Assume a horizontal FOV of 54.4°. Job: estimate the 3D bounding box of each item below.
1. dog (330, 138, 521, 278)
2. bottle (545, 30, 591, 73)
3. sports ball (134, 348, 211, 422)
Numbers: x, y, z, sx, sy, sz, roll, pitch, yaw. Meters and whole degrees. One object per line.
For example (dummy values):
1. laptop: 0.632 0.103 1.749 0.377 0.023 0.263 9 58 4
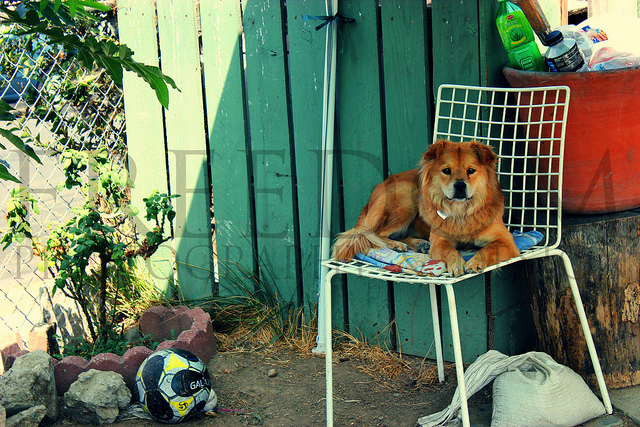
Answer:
1. dog: 0.664 -0.038 3.613 0.824 0.539 0.901 2 -8 -13
2. bottle: 1.439 -0.939 3.620 0.140 0.252 0.145 -38 17 14
3. sports ball: -0.906 1.028 3.842 0.490 0.400 0.437 11 -38 -3
